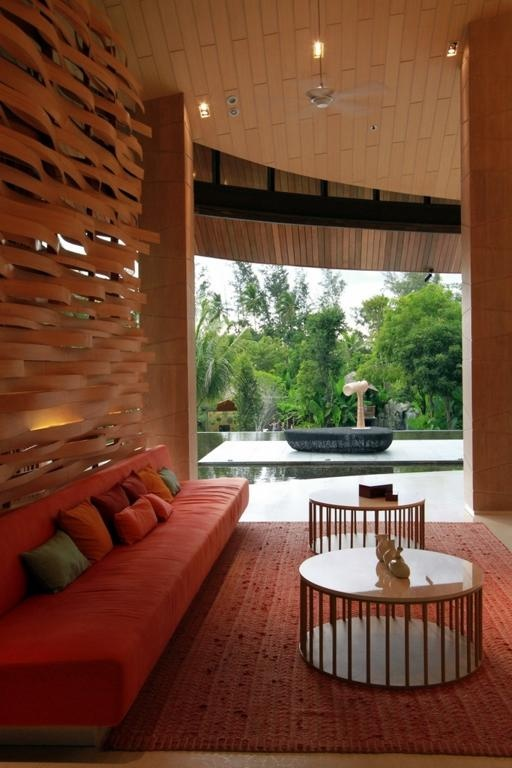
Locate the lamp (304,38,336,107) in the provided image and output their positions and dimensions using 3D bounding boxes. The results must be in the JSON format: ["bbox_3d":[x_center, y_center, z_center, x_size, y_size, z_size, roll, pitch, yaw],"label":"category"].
[{"bbox_3d":[0.763,-3.506,6.098,0.346,0.677,0.811,-1,-3,8],"label":"lamp"}]
